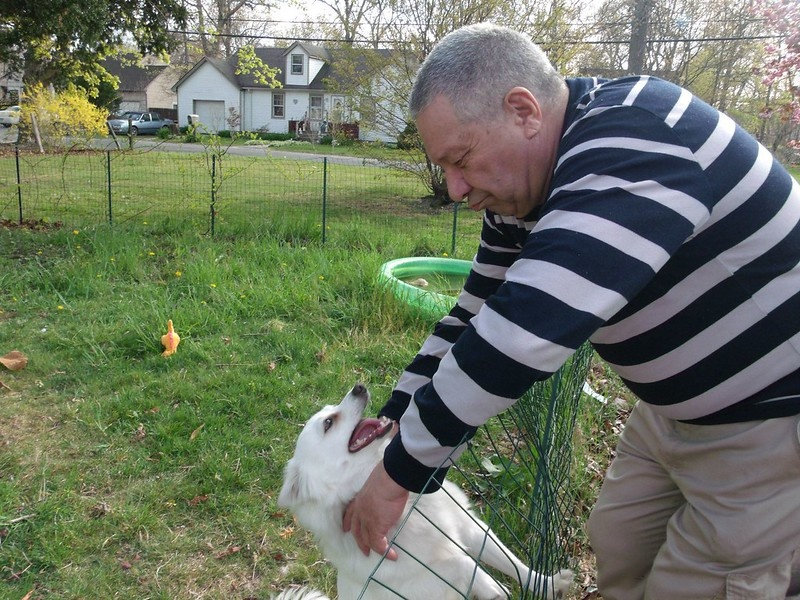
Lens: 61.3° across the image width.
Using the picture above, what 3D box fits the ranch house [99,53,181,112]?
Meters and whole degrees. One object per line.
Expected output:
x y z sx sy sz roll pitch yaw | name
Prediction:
-18.116 -15.057 47.879 2.441 3.198 4.428 17 18 39 | ranch house
